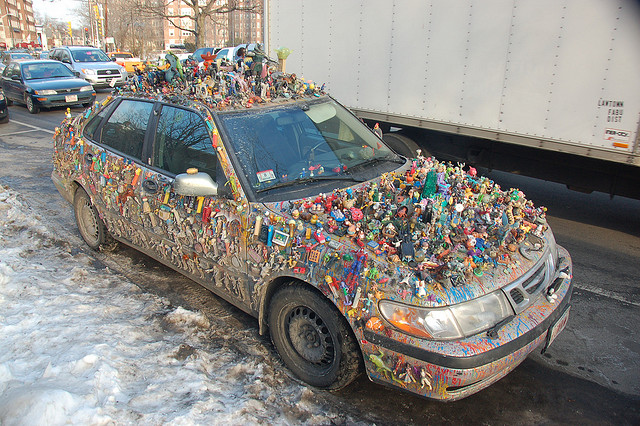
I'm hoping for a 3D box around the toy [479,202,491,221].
[{"bbox_3d":[1.729,-0.003,3.960,0.073,0.119,0.195,7,46,-3],"label":"toy"}]

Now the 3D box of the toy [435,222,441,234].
[{"bbox_3d":[1.139,0.135,3.773,0.070,0.076,0.027,-10,-22,28],"label":"toy"}]

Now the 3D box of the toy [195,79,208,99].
[{"bbox_3d":[-1.423,-1.486,4.730,0.143,0.208,0.062,-4,-2,5],"label":"toy"}]

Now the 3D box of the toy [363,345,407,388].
[{"bbox_3d":[0.550,1.378,3.553,0.223,0.519,0.202,-33,13,1],"label":"toy"}]

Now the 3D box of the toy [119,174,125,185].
[{"bbox_3d":[-2.606,-0.435,5.125,0.025,0.095,0.079,7,34,-29],"label":"toy"}]

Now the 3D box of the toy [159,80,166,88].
[{"bbox_3d":[-2.123,-1.736,5.252,0.038,0.057,0.143,-17,59,-37],"label":"toy"}]

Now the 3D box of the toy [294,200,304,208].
[{"bbox_3d":[-0.226,-0.092,4.031,0.084,0.041,0.115,5,20,-2],"label":"toy"}]

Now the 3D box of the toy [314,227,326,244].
[{"bbox_3d":[-0.003,0.222,3.800,0.079,0.053,0.147,-16,64,-22],"label":"toy"}]

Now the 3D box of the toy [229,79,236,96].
[{"bbox_3d":[-1.077,-1.541,4.789,0.068,0.056,0.241,20,56,-16],"label":"toy"}]

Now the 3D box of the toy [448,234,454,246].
[{"bbox_3d":[1.276,0.261,3.800,0.059,0.088,0.021,-1,-11,-29],"label":"toy"}]

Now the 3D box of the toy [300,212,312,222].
[{"bbox_3d":[-0.149,0.036,3.912,0.102,0.065,0.079,23,43,32],"label":"toy"}]

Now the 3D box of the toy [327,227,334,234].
[{"bbox_3d":[0.105,0.174,3.807,0.070,0.049,0.034,22,26,37],"label":"toy"}]

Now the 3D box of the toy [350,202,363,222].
[{"bbox_3d":[0.358,0.018,3.882,0.135,0.095,0.121,8,20,5],"label":"toy"}]

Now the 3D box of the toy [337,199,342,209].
[{"bbox_3d":[0.196,-0.100,3.951,0.020,0.067,0.065,5,-10,-11],"label":"toy"}]

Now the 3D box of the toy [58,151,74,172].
[{"bbox_3d":[-3.965,-0.815,6.050,0.301,0.324,0.092,-11,-2,44],"label":"toy"}]

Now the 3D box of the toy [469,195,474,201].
[{"bbox_3d":[1.666,-0.163,4.263,0.037,0.018,0.052,4,19,9],"label":"toy"}]

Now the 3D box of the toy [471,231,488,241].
[{"bbox_3d":[1.583,0.209,3.848,0.087,0.050,0.128,5,11,34],"label":"toy"}]

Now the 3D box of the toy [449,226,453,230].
[{"bbox_3d":[1.288,0.145,3.832,0.033,0.032,0.014,13,21,19],"label":"toy"}]

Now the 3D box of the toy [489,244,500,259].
[{"bbox_3d":[1.674,0.374,3.751,0.038,0.118,0.084,2,9,42],"label":"toy"}]

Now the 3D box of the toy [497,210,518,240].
[{"bbox_3d":[1.859,0.133,3.922,0.091,0.195,0.321,8,52,22],"label":"toy"}]

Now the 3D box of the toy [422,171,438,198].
[{"bbox_3d":[1.188,-0.303,4.195,0.130,0.240,0.261,11,21,16],"label":"toy"}]

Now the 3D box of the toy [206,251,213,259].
[{"bbox_3d":[-1.254,0.475,4.417,0.044,0.019,0.064,0,15,7],"label":"toy"}]

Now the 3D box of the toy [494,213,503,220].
[{"bbox_3d":[1.804,0.037,3.950,0.070,0.022,0.064,-50,18,-24],"label":"toy"}]

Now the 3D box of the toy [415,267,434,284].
[{"bbox_3d":[0.939,0.557,3.493,0.170,0.092,0.091,7,20,3],"label":"toy"}]

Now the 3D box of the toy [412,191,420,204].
[{"bbox_3d":[0.993,-0.157,4.047,0.032,0.099,0.067,25,6,-45],"label":"toy"}]

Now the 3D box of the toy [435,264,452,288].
[{"bbox_3d":[1.109,0.574,3.521,0.162,0.064,0.166,-27,75,-21],"label":"toy"}]

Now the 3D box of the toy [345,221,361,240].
[{"bbox_3d":[0.316,0.168,3.812,0.127,0.158,0.060,18,-22,7],"label":"toy"}]

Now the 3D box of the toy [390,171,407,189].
[{"bbox_3d":[0.878,-0.362,4.424,0.146,0.066,0.153,10,48,-14],"label":"toy"}]

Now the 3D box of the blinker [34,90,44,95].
[{"bbox_3d":[-11.876,-5.074,16.402,0.445,0.208,0.105,12,21,14],"label":"blinker"}]

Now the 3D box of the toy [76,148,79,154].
[{"bbox_3d":[-3.600,-0.920,5.778,0.053,0.081,0.017,13,5,20],"label":"toy"}]

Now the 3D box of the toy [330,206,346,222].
[{"bbox_3d":[0.183,0.017,3.873,0.096,0.053,0.132,-23,51,-38],"label":"toy"}]

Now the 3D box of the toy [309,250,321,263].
[{"bbox_3d":[-0.054,0.415,3.754,0.100,0.108,0.032,1,-17,29],"label":"toy"}]

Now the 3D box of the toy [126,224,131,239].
[{"bbox_3d":[-2.593,0.239,5.274,0.042,0.163,0.047,0,17,43],"label":"toy"}]

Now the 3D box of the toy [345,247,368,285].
[{"bbox_3d":[0.340,0.487,3.590,0.196,0.291,0.079,21,-13,24],"label":"toy"}]

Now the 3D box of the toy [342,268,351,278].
[{"bbox_3d":[0.240,0.553,3.603,0.015,0.064,0.061,14,-5,-28],"label":"toy"}]

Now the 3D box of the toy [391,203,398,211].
[{"bbox_3d":[0.754,-0.056,3.962,0.082,0.044,0.056,-13,28,-42],"label":"toy"}]

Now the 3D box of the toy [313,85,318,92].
[{"bbox_3d":[-0.080,-1.738,5.456,0.024,0.079,0.078,3,-12,38],"label":"toy"}]

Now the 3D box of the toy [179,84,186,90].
[{"bbox_3d":[-1.789,-1.637,5.066,0.069,0.030,0.098,-1,32,-5],"label":"toy"}]

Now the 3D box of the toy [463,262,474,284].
[{"bbox_3d":[1.376,0.549,3.578,0.100,0.119,0.134,18,24,31],"label":"toy"}]

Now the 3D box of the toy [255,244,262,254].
[{"bbox_3d":[-0.648,0.375,4.044,0.047,0.098,0.024,11,5,22],"label":"toy"}]
